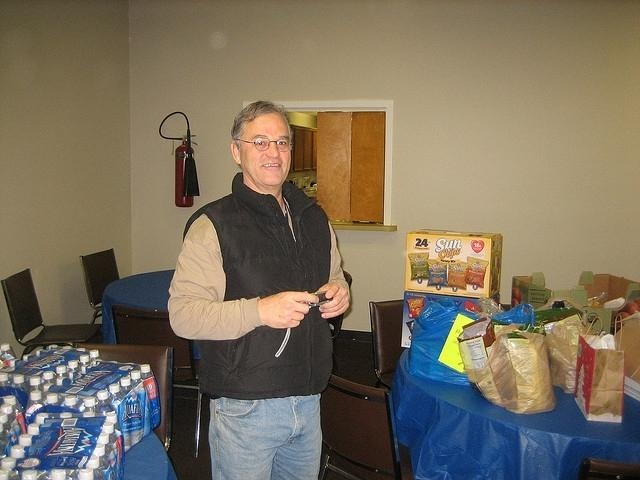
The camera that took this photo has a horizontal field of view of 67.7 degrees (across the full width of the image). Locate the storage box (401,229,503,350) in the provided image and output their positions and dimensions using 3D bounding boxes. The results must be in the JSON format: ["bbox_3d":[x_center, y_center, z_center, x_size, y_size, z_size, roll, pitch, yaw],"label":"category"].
[{"bbox_3d":[0.688,0.276,2.505,0.515,0.643,0.480,1,4,15],"label":"storage box"}]

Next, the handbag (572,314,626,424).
[{"bbox_3d":[1.139,0.545,1.961,0.171,0.523,0.359,1,2,19],"label":"handbag"}]

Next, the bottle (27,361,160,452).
[{"bbox_3d":[-0.767,0.525,1.663,0.284,0.193,0.291,2,6,0],"label":"bottle"}]
